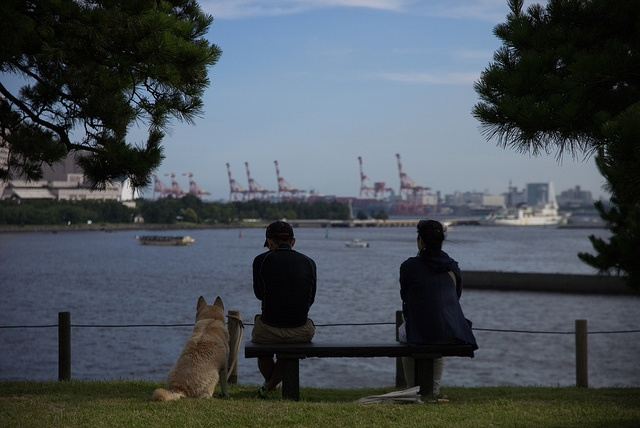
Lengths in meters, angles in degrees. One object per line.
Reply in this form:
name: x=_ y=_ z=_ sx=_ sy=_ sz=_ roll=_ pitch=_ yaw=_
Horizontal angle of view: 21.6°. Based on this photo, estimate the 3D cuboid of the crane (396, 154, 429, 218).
crane: x=15.172 y=-1.710 z=283.585 sx=4.772 sy=11.947 sz=6.705 roll=1 pitch=-1 yaw=-6

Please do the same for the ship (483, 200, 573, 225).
ship: x=37.645 y=0.733 z=305.461 sx=14.299 sy=4.004 sz=40.458 roll=-2 pitch=0 yaw=9
